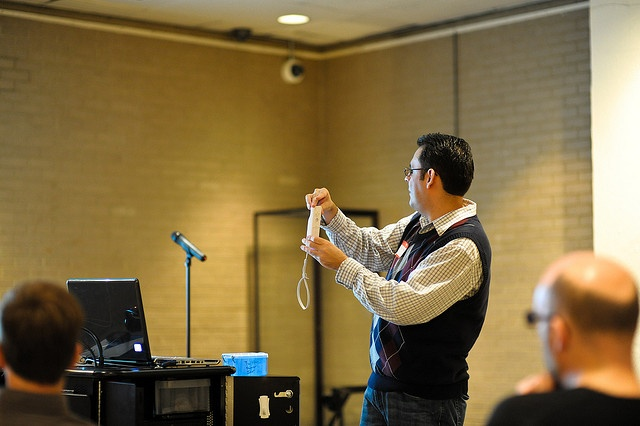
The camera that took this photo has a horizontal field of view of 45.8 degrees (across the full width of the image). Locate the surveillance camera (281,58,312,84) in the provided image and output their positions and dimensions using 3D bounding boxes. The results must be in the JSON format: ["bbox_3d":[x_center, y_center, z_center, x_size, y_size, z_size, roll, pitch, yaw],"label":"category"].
[{"bbox_3d":[-0.236,-1.235,6.761,0.244,0.226,0.200,-30,14,-20],"label":"surveillance camera"}]

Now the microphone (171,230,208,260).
[{"bbox_3d":[-1.039,0.255,5.907,0.264,0.070,0.097,41,-18,2],"label":"microphone"}]
